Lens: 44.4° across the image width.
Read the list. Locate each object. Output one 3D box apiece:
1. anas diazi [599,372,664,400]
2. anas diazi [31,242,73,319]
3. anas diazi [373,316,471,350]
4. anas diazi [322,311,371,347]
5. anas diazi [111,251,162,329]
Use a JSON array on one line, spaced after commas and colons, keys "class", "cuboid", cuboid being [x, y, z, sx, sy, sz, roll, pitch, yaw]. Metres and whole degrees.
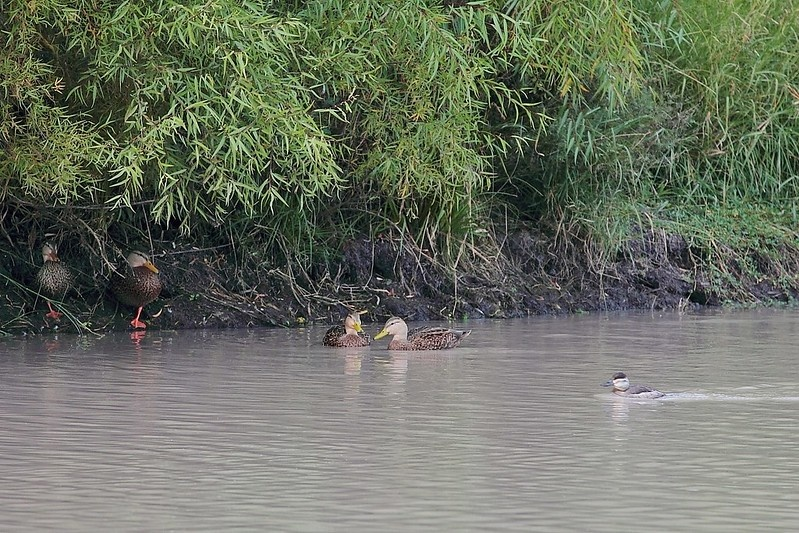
[{"class": "anas diazi", "cuboid": [2.043, 1.077, 8.768, 0.646, 0.283, 0.183, 5, -2, 23]}, {"class": "anas diazi", "cuboid": [-4.873, 0.191, 13.820, 0.511, 1.128, 0.555, -6, -5, -8]}, {"class": "anas diazi", "cuboid": [0.370, 0.913, 12.419, 1.171, 0.560, 0.483, -4, 5, -10]}, {"class": "anas diazi", "cuboid": [-0.702, 0.826, 12.449, 0.374, 0.381, 0.537, 2, -4, -39]}, {"class": "anas diazi", "cuboid": [-3.750, 0.293, 14.061, 0.604, 1.116, 0.955, -9, 16, -38]}]
